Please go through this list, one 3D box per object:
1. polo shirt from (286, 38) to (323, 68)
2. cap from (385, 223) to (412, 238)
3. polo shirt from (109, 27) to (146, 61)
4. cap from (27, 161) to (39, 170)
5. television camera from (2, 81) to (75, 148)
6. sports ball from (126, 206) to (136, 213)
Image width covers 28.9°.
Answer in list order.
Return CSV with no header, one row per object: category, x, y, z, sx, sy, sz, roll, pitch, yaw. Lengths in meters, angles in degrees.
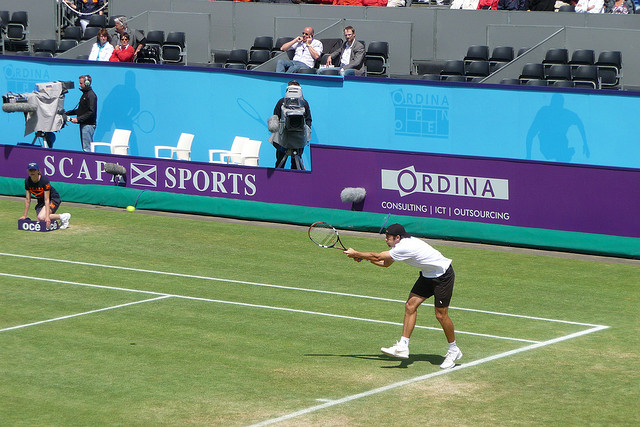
polo shirt,-0.458,-4.794,36.796,0.835,0.695,0.447,15,-19,24
cap,1.544,0.343,24.289,0.396,0.176,0.261,2,9,-21
polo shirt,-6.035,-5.335,38.764,1.181,1.084,0.590,-3,-11,-11
cap,-7.595,-1.281,32.936,0.352,0.251,0.491,-1,-1,4
television camera,-8.325,-3.191,37.080,1.906,1.621,0.711,1,4,-12
sports ball,-5.255,-0.121,34.661,0.182,0.133,0.180,2,17,-1
